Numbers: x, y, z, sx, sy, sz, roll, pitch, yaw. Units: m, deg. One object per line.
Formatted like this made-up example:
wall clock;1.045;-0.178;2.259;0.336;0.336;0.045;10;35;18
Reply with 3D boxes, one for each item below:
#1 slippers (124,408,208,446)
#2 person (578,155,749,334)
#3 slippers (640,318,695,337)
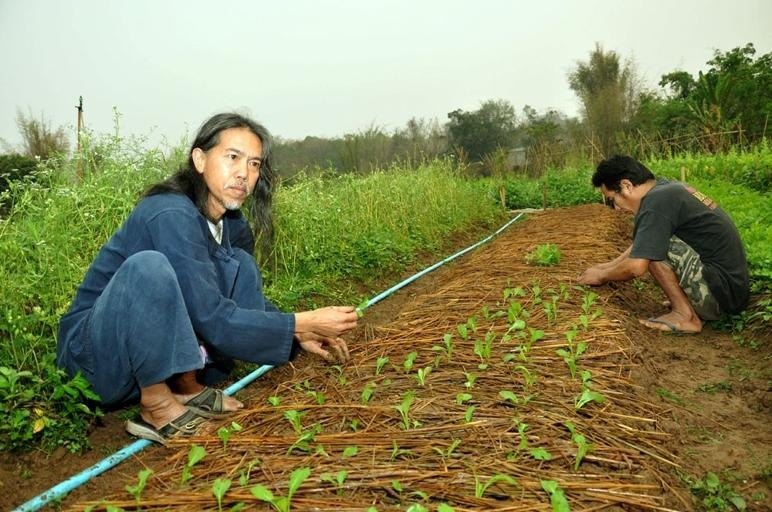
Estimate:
slippers;-1.519;1.191;3.670;0.553;0.216;0.223;0;3;1
person;2.687;-0.161;5.108;1.450;1.603;1.176;3;10;35
slippers;2.529;0.588;4.664;0.366;0.074;0.191;12;-1;-1
